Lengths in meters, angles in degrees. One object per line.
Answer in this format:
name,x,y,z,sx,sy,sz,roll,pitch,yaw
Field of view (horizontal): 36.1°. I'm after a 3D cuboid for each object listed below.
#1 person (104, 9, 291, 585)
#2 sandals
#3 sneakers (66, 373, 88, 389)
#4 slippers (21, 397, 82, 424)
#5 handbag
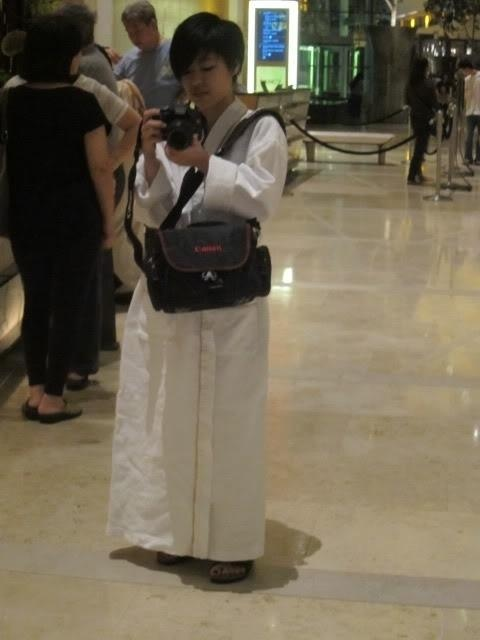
person,-0.110,-0.006,1.635,0.407,1.275,0.348,1,11,5
sandals,-0.088,0.560,1.766,0.214,0.088,0.081,2,6,18
sneakers,-0.697,0.261,3.138,0.042,0.054,0.120,4,8,7
slippers,-0.733,0.338,2.789,0.164,0.063,0.087,1,2,-42
handbag,-0.063,-0.126,1.560,0.253,0.210,0.138,-5,30,-11
